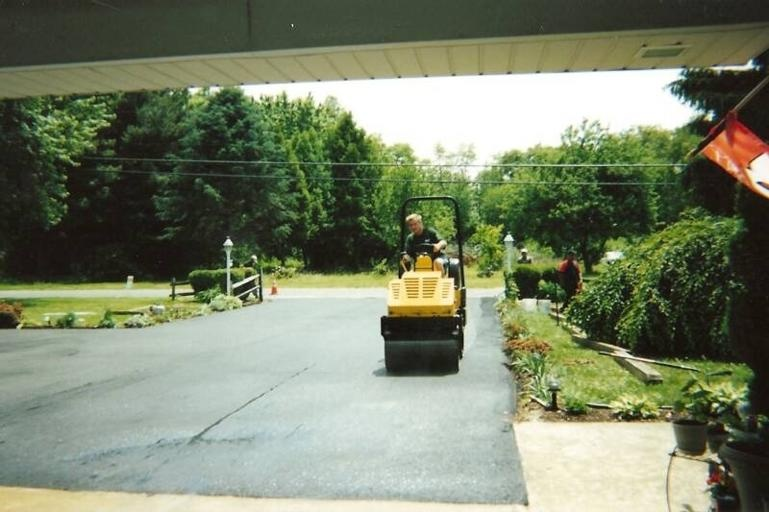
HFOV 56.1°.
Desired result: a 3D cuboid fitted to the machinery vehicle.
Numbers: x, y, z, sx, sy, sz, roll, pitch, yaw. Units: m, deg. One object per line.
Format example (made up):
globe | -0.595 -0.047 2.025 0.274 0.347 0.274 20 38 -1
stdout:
machinery vehicle | 0.775 0.528 14.450 1.639 3.452 1.777 -3 7 5
